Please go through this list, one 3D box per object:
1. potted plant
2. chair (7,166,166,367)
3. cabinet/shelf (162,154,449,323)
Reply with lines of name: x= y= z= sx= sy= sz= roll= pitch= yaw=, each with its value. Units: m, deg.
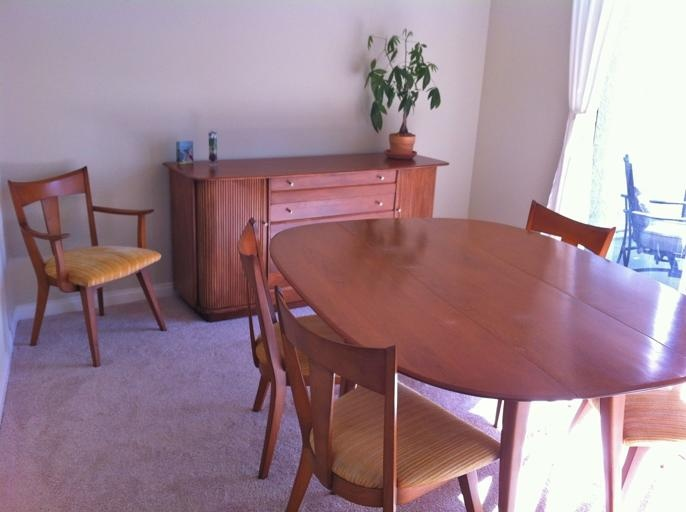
potted plant: x=0.522 y=-1.342 z=4.452 sx=0.703 sy=1.024 sz=0.537 roll=-5 pitch=18 yaw=-14
chair: x=-1.683 y=0.015 z=3.470 sx=0.826 sy=1.087 sz=0.739 roll=10 pitch=20 yaw=32
cabinet/shelf: x=-0.234 y=-0.233 z=4.309 sx=1.930 sy=1.119 sz=0.703 roll=-7 pitch=26 yaw=-22
